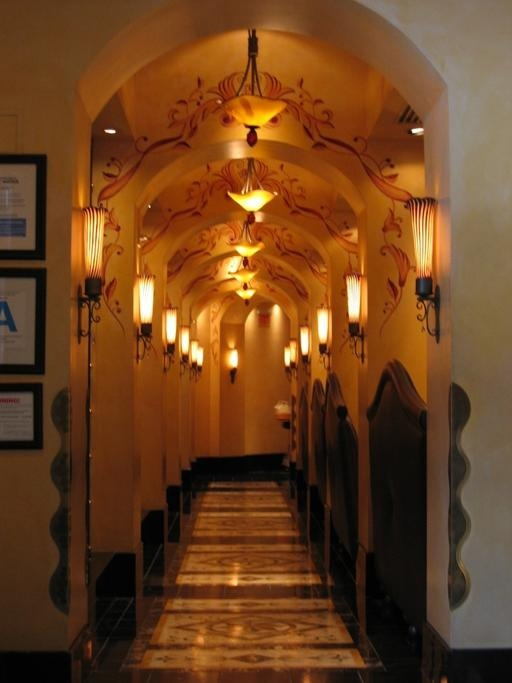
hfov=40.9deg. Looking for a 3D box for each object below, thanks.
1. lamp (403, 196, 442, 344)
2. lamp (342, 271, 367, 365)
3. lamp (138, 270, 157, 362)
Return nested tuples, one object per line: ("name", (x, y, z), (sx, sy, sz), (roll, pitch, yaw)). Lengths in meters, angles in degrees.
("lamp", (0.907, -0.397, 3.726), (0.158, 0.811, 0.270), (-1, -4, 13))
("lamp", (0.924, -0.224, 6.411), (0.146, 0.870, 0.531), (0, -4, 6))
("lamp", (-1.080, -0.229, 6.691), (0.150, 0.821, 0.562), (1, -4, -10))
